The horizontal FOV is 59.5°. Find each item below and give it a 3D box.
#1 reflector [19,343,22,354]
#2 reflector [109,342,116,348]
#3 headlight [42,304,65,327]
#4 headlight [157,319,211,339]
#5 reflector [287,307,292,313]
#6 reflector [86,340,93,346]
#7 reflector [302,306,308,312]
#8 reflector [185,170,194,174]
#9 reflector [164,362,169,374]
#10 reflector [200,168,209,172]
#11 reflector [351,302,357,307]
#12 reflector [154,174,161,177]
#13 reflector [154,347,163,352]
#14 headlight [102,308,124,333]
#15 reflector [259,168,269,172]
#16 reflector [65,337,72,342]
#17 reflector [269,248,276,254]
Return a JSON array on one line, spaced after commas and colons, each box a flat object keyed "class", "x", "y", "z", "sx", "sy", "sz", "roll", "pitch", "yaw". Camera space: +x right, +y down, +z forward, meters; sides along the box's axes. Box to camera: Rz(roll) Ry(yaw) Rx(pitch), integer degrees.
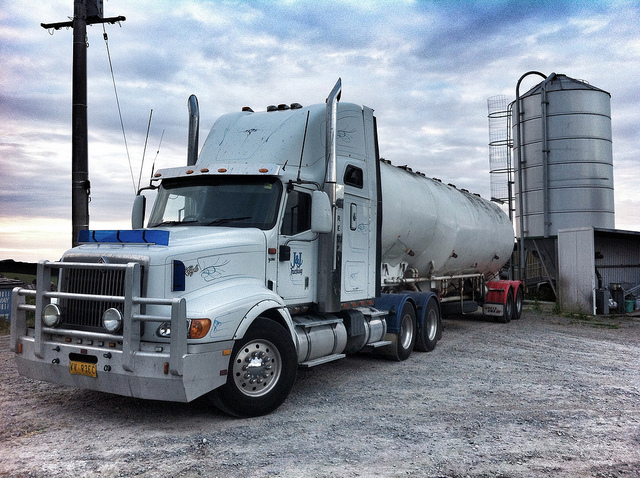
[{"class": "reflector", "x": -4.268, "y": 1.538, "z": 7.958, "sx": 0.054, "sy": 0.112, "sz": 0.020, "roll": 2, "pitch": 3, "yaw": 19}, {"class": "reflector", "x": -2.753, "y": 1.392, "z": 7.389, "sx": 0.115, "sy": 0.055, "sz": 0.026, "roll": 2, "pitch": 3, "yaw": 22}, {"class": "headlight", "x": -3.720, "y": 1.047, "z": 7.784, "sx": 0.277, "sy": 0.312, "sz": 0.172, "roll": 0, "pitch": 3, "yaw": -27}, {"class": "headlight", "x": -1.689, "y": 1.161, "z": 7.323, "sx": 0.310, "sy": 0.185, "sz": 0.463, "roll": -5, "pitch": -12, "yaw": 24}, {"class": "reflector", "x": -0.495, "y": 1.124, "z": 9.061, "sx": 0.029, "sy": 0.088, "sz": 0.133, "roll": 2, "pitch": 2, "yaw": 19}, {"class": "reflector", "x": -3.116, "y": 1.383, "z": 7.532, "sx": 0.083, "sy": 0.065, "sz": 0.048, "roll": 1, "pitch": 0, "yaw": 10}, {"class": "reflector", "x": -0.259, "y": 1.158, "z": 9.391, "sx": 0.078, "sy": 0.077, "sz": 0.135, "roll": -2, "pitch": -16, "yaw": 19}, {"class": "reflector", "x": -2.122, "y": -1.099, "z": 9.052, "sx": 0.124, "sy": 0.064, "sz": 0.033, "roll": 2, "pitch": 3, "yaw": 19}, {"class": "reflector", "x": -1.971, "y": 1.635, "z": 7.153, "sx": 0.064, "sy": 0.147, "sz": 0.014, "roll": 1, "pitch": 3, "yaw": 7}, {"class": "reflector", "x": -1.856, "y": -1.123, "z": 8.958, "sx": 0.147, "sy": 0.054, "sz": 0.038, "roll": 2, "pitch": 3, "yaw": 21}, {"class": "reflector", "x": 0.619, "y": 1.195, "z": 10.347, "sx": 0.031, "sy": 0.089, "sz": 0.221, "roll": 2, "pitch": 2, "yaw": 26}, {"class": "reflector", "x": -2.701, "y": -1.070, "z": 9.284, "sx": 0.123, "sy": 0.033, "sz": 0.019, "roll": 2, "pitch": 3, "yaw": 32}, {"class": "reflector", "x": -2.105, "y": 1.425, "z": 7.266, "sx": 0.073, "sy": 0.058, "sz": 0.052, "roll": -1, "pitch": -4, "yaw": 3}, {"class": "headlight", "x": -2.735, "y": 1.062, "z": 7.390, "sx": 0.291, "sy": 0.325, "sz": 0.111, "roll": 0, "pitch": -7, "yaw": 15}, {"class": "reflector", "x": -0.895, "y": -1.098, "z": 8.759, "sx": 0.127, "sy": 0.053, "sz": 0.031, "roll": 1, "pitch": 3, "yaw": -11}, {"class": "reflector", "x": -3.455, "y": 1.368, "z": 7.666, "sx": 0.087, "sy": 0.065, "sz": 0.052, "roll": 1, "pitch": -9, "yaw": 4}, {"class": "reflector", "x": -0.748, "y": 0.169, "z": 8.681, "sx": 0.108, "sy": 0.103, "sz": 0.062, "roll": 3, "pitch": 7, "yaw": 9}]
